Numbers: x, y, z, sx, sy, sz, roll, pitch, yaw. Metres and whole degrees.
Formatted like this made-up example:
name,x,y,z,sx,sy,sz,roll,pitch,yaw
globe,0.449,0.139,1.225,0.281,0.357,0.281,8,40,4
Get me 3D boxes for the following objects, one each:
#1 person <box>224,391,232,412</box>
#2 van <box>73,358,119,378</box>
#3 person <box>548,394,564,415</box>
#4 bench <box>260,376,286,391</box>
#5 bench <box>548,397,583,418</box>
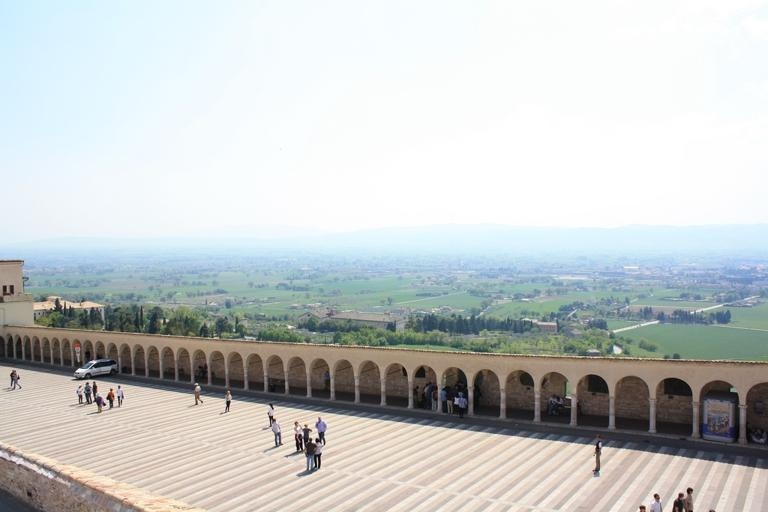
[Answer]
name,x,y,z,sx,sy,sz,roll,pitch,yaw
person,-11.321,10.545,36.155,0.418,1.285,1.709,3,-4,-17
van,-27.262,10.709,47.379,3.325,1.180,1.753,5,-6,-44
person,11.458,10.062,33.353,0.783,0.312,1.237,9,16,23
bench,-9.036,10.954,41.937,1.743,0.886,1.146,0,26,-17
bench,11.652,10.072,33.299,1.382,1.169,0.660,0,-4,15
